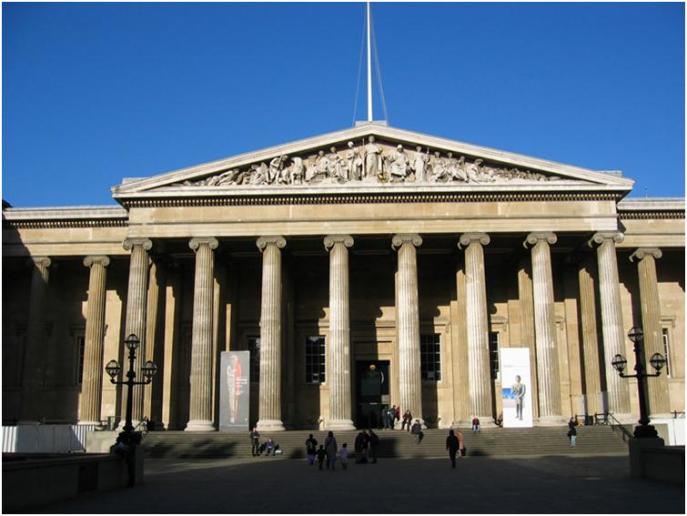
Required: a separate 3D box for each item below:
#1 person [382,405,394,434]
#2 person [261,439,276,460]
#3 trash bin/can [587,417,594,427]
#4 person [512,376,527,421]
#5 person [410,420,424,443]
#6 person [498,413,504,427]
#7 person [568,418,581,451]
[{"bbox_3d":[2.503,8.949,43.535,0.632,1.209,1.479,-1,-14,2],"label":"person"},{"bbox_3d":[-3.840,9.802,40.046,0.725,1.320,0.761,0,-51,2],"label":"person"},{"bbox_3d":[14.301,9.338,45.015,0.552,0.535,1.067,-5,-15,18],"label":"trash bin/can"},{"bbox_3d":[9.711,7.647,42.658,0.731,2.368,0.783,-5,-15,15],"label":"person"},{"bbox_3d":[3.954,9.193,41.226,0.646,1.302,2.112,-2,-14,5],"label":"person"},{"bbox_3d":[9.622,9.901,47.944,0.392,0.840,1.728,-5,-15,16],"label":"person"},{"bbox_3d":[12.056,9.185,40.656,0.526,1.436,1.786,-5,-15,15],"label":"person"}]
